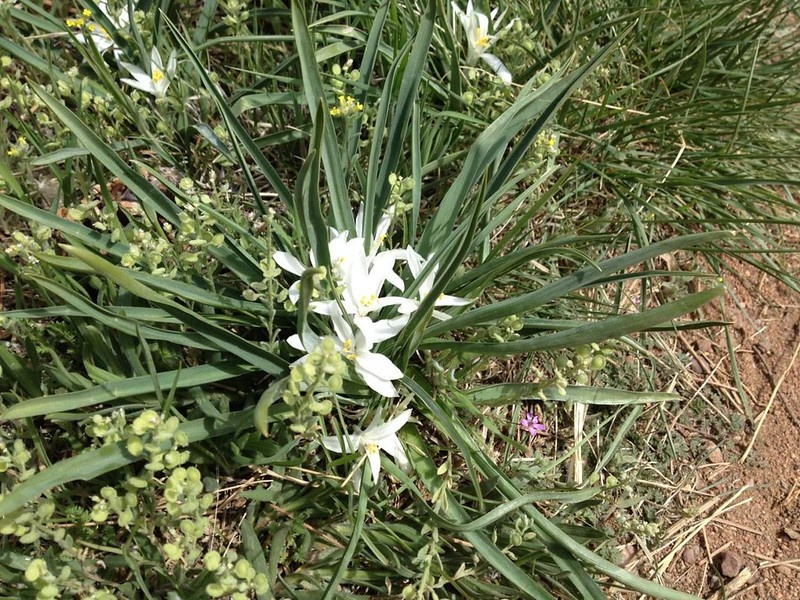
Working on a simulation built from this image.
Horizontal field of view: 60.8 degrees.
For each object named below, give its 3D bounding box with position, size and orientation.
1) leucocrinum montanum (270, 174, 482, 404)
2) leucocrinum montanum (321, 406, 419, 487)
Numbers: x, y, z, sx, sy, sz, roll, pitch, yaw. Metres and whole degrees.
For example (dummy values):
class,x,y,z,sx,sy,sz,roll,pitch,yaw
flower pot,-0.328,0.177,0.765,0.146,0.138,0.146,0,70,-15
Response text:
class,x,y,z,sx,sy,sz,roll,pitch,yaw
leucocrinum montanum,-0.112,-0.016,2.234,0.633,0.285,0.639,30,71,-18
leucocrinum montanum,-0.089,0.467,2.227,0.266,0.117,0.249,8,72,-27
